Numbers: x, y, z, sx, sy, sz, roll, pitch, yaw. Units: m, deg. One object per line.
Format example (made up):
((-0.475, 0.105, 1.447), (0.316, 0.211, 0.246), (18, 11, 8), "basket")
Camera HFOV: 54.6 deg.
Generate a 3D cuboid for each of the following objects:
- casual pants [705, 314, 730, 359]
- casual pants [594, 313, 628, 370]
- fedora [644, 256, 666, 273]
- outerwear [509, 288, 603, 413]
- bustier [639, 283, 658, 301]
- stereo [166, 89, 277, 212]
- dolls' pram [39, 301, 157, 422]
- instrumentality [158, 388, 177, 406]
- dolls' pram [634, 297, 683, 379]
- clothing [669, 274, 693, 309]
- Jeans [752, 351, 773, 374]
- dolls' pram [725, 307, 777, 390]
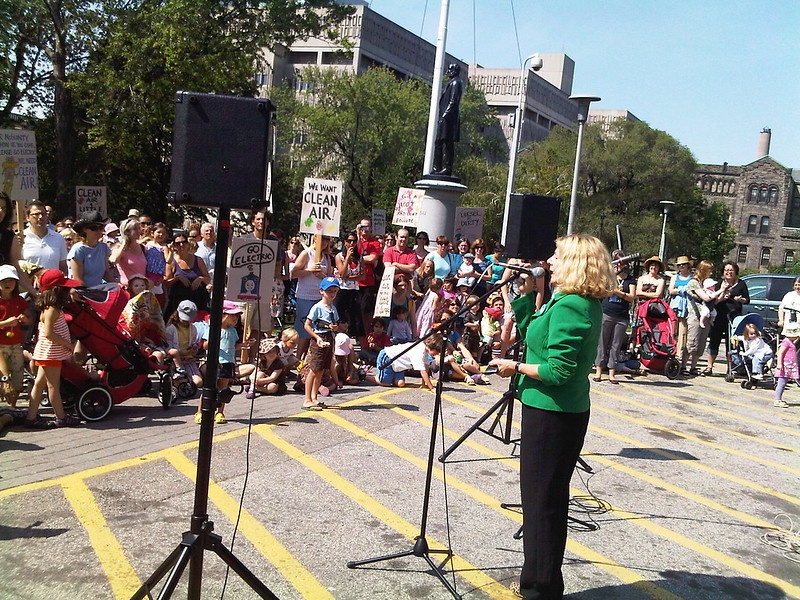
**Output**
((6.397, 0.659, 15.608), (0.240, 0.874, 0.374), (7, 12, 19), "casual pants")
((3.621, 0.653, 13.270), (0.242, 1.054, 0.302), (20, -18, -22), "casual pants")
((4.592, -0.708, 14.089), (0.282, 0.138, 0.393), (9, -37, 12), "fedora")
((1.354, 0.377, 6.697), (0.774, 1.108, 1.043), (4, 1, 15), "outerwear")
((4.569, -0.155, 14.364), (0.356, 0.515, 0.283), (1, -6, 11), "bustier")
((-1.398, -1.091, 6.133), (0.793, 0.933, 0.485), (3, -12, -7), "stereo")
((-3.540, 0.686, 9.701), (1.357, 1.442, 0.795), (-6, 1, -26), "dolls' pram")
((-2.976, 1.276, 9.922), (0.226, 0.245, 0.076), (-6, -11, -31), "instrumentality")
((4.780, 0.697, 14.416), (0.847, 1.436, 1.065), (7, 7, 20), "dolls' pram")
((5.496, -0.168, 15.286), (0.465, 0.660, 0.265), (6, -2, 44), "clothing")
((6.728, 1.162, 14.540), (0.256, 0.462, 0.275), (24, -22, -22), "Jeans")
((6.650, 0.960, 14.630), (0.778, 1.551, 1.071), (3, -6, 5), "dolls' pram")
